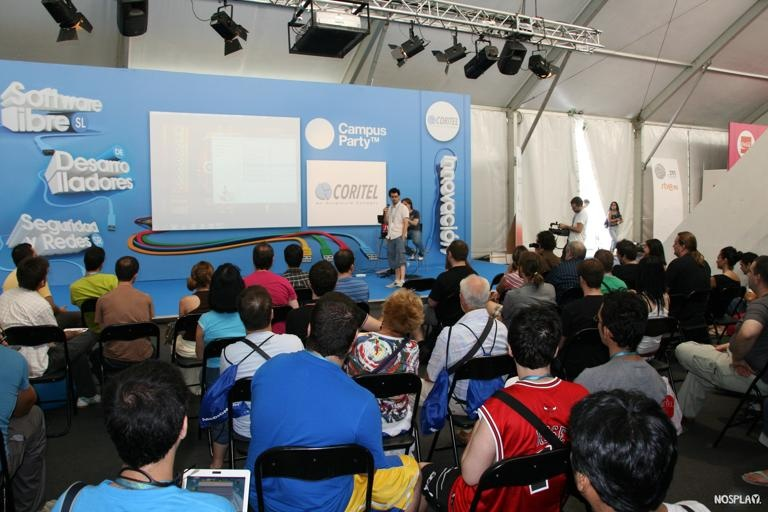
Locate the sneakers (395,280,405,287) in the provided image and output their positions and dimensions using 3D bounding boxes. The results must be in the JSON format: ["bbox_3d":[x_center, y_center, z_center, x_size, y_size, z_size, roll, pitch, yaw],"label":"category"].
[{"bbox_3d":[0.260,0.457,8.992,0.070,0.091,0.201,-2,-7,11],"label":"sneakers"}]

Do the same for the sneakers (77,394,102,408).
[{"bbox_3d":[-2.998,1.461,5.567,0.253,0.118,0.095,0,0,-26],"label":"sneakers"}]

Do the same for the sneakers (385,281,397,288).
[{"bbox_3d":[0.125,0.488,9.149,0.172,0.080,0.069,-1,2,-30],"label":"sneakers"}]

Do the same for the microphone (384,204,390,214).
[{"bbox_3d":[0.056,-0.856,9.960,0.089,0.113,0.368,-18,9,2],"label":"microphone"}]

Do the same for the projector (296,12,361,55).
[{"bbox_3d":[-0.806,-3.262,8.072,0.924,0.460,0.771,-1,6,-26],"label":"projector"}]
